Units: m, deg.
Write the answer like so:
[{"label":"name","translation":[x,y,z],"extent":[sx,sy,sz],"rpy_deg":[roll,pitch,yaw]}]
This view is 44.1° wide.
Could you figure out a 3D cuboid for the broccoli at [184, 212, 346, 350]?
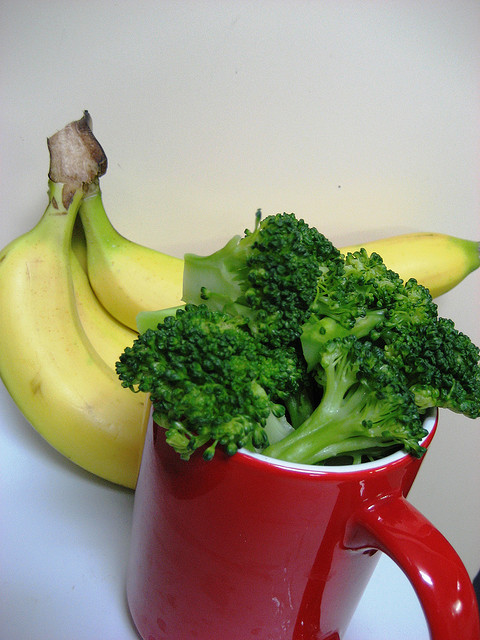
[{"label":"broccoli","translation":[0.011,-0.039,0.488],"extent":[0.091,0.085,0.087],"rpy_deg":[-9,29,-38]}]

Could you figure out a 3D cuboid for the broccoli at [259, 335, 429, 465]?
[{"label":"broccoli","translation":[0.090,0.062,0.460],"extent":[0.114,0.081,0.057],"rpy_deg":[-32,-2,-14]}]

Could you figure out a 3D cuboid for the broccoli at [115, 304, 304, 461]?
[{"label":"broccoli","translation":[-0.021,0.042,0.459],"extent":[0.106,0.069,0.117],"rpy_deg":[-32,64,-14]}]

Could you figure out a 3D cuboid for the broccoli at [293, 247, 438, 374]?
[{"label":"broccoli","translation":[0.088,-0.025,0.498],"extent":[0.095,0.083,0.103],"rpy_deg":[22,-2,27]}]
